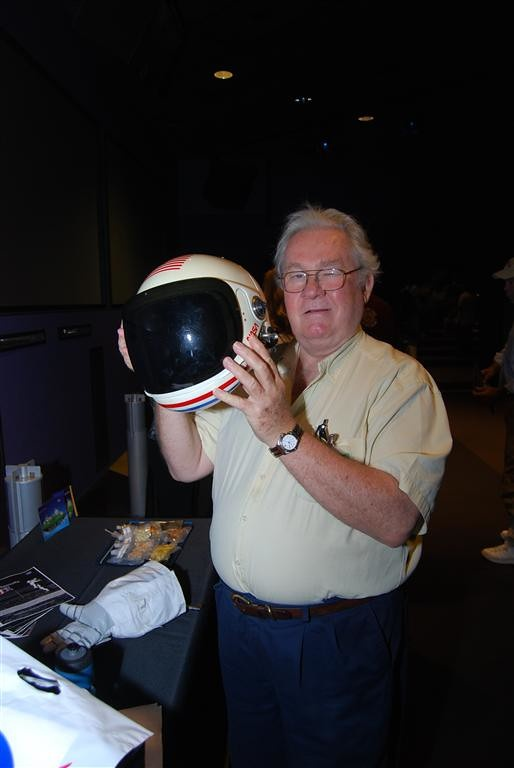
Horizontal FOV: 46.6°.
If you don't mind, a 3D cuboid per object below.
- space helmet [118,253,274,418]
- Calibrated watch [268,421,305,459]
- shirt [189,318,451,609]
[{"bbox_3d":[-0.101,-0.101,1.159,0.241,0.221,0.282,-17,13,29],"label":"space helmet"},{"bbox_3d":[0.052,0.101,1.035,0.059,0.056,0.030,0,12,-3],"label":"Calibrated watch"},{"bbox_3d":[0.112,0.166,1.289,0.573,0.532,0.350,4,12,17],"label":"shirt"}]
